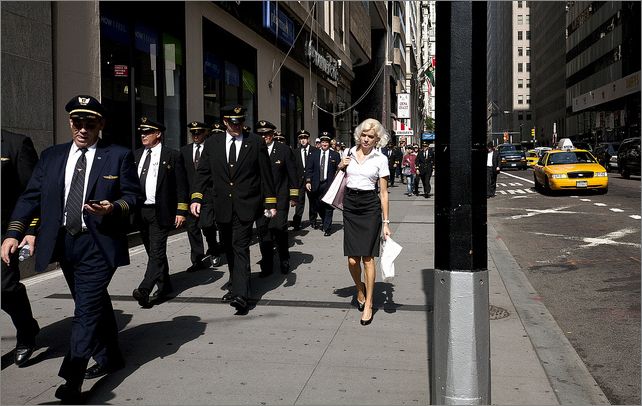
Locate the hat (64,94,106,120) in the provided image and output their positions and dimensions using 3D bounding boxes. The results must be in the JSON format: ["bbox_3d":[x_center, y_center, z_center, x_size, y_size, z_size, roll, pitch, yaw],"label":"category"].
[{"bbox_3d":[-2.353,-0.960,5.335,0.361,0.251,0.244,-1,7,-22],"label":"hat"}]

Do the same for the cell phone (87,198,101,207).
[{"bbox_3d":[-2.173,-0.009,5.097,0.094,0.099,0.023,2,24,5],"label":"cell phone"}]

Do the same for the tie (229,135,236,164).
[{"bbox_3d":[-1.235,-0.740,7.455,0.102,0.367,0.076,2,7,9],"label":"tie"}]

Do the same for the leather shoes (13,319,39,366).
[{"bbox_3d":[-3.205,1.488,5.824,0.175,0.516,0.214,-1,-11,-18],"label":"leather shoes"}]

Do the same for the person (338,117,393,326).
[{"bbox_3d":[0.597,0.203,7.009,0.628,2.589,0.703,-4,8,-38],"label":"person"}]

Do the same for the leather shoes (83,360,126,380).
[{"bbox_3d":[-2.258,1.733,5.584,0.136,0.159,0.374,0,-5,45],"label":"leather shoes"}]

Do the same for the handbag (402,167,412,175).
[{"bbox_3d":[3.655,-1.357,22.648,0.287,0.356,0.492,2,7,6],"label":"handbag"}]

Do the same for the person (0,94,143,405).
[{"bbox_3d":[-2.475,0.370,5.441,0.995,2.903,0.961,4,7,23],"label":"person"}]

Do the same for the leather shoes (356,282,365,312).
[{"bbox_3d":[0.559,1.296,7.321,0.125,0.341,0.095,1,8,39],"label":"leather shoes"}]

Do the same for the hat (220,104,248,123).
[{"bbox_3d":[-1.234,-1.246,7.463,0.348,0.255,0.341,0,7,-9],"label":"hat"}]

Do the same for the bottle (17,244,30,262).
[{"bbox_3d":[-2.892,0.499,5.187,0.063,0.170,0.126,17,15,-38],"label":"bottle"}]

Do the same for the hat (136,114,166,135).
[{"bbox_3d":[-2.542,-1.149,7.977,0.364,0.172,0.412,1,3,33],"label":"hat"}]

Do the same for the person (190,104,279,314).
[{"bbox_3d":[-1.063,0.044,7.459,0.971,2.757,1.103,-2,8,-29],"label":"person"}]

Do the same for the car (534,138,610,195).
[{"bbox_3d":[10.646,-1.361,22.918,2.203,1.971,3.207,3,7,11],"label":"car"}]

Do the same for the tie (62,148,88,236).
[{"bbox_3d":[-2.446,-0.113,5.321,0.190,0.851,0.216,0,7,-16],"label":"tie"}]

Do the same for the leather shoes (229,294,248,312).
[{"bbox_3d":[-1.090,1.345,7.070,0.232,0.224,0.164,-1,7,-17],"label":"leather shoes"}]
